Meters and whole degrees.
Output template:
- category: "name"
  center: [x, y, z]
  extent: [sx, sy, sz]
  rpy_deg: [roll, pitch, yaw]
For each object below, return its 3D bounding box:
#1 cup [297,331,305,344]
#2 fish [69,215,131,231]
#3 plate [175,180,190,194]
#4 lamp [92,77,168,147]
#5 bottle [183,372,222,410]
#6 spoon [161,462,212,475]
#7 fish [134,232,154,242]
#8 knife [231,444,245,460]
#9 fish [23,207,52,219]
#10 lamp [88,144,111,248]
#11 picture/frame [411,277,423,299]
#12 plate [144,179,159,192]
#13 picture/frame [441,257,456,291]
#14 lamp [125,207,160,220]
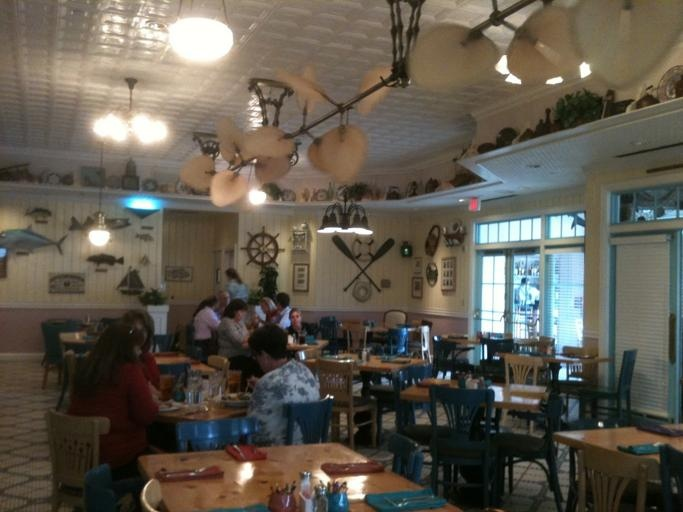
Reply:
- category: "cup"
  center: [-0.627, 1.257, 8.959]
  extent: [0.119, 0.202, 0.124]
  rpy_deg: [1, -4, 0]
- category: "fish"
  center: [-5.072, -0.683, 12.226]
  extent: [1.013, 0.379, 0.403]
  rpy_deg: [2, -2, -20]
- category: "plate"
  center: [-3.380, -1.441, 12.402]
  extent: [0.297, 0.287, 0.510]
  rpy_deg: [5, 3, -15]
- category: "lamp"
  center: [-3.110, -2.333, 8.637]
  extent: [0.584, 0.472, 0.599]
  rpy_deg: [18, 27, 11]
- category: "bottle"
  center: [-1.136, 1.100, 4.840]
  extent: [0.332, 0.336, 0.221]
  rpy_deg: [8, -11, -37]
- category: "spoon"
  center: [-0.910, 1.226, 3.377]
  extent: [0.166, 0.031, 0.095]
  rpy_deg: [0, -6, 4]
- category: "fish"
  center: [-4.239, -0.413, 12.600]
  extent: [0.404, 0.176, 0.118]
  rpy_deg: [20, 7, -35]
- category: "knife"
  center: [-0.633, 1.210, 3.602]
  extent: [0.052, 0.017, 0.052]
  rpy_deg: [-34, 31, -5]
- category: "fish"
  center: [-6.120, -0.888, 11.832]
  extent: [0.457, 0.196, 0.086]
  rpy_deg: [3, -4, -28]
- category: "lamp"
  center: [-4.767, -1.159, 11.572]
  extent: [0.453, 1.900, 1.708]
  rpy_deg: [3, -4, -22]
- category: "picture/frame"
  center: [1.723, 0.717, 13.427]
  extent: [0.043, 0.550, 0.484]
  rpy_deg: [2, -3, -21]
- category: "plate"
  center: [-3.993, -1.477, 12.173]
  extent: [0.252, 0.195, 0.269]
  rpy_deg: [3, 13, -13]
- category: "picture/frame"
  center: [2.227, 0.393, 12.351]
  extent: [0.050, 0.614, 0.509]
  rpy_deg: [-1, 4, -23]
- category: "lamp"
  center: [-4.274, -0.913, 12.547]
  extent: [0.665, 0.214, 0.111]
  rpy_deg: [3, -4, -21]
